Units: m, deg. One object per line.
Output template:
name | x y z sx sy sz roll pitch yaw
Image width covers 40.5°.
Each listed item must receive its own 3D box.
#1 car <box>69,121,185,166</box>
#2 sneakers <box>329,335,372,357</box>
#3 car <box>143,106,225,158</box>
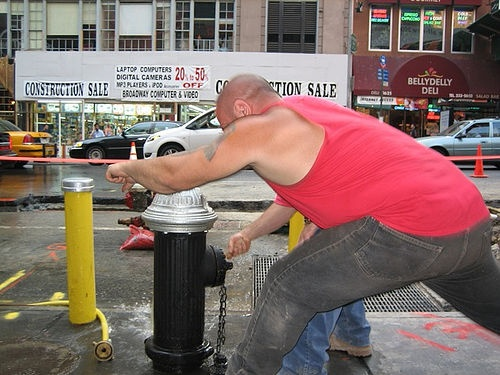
car | -3.805 -1.419 21.028 3.399 1.115 1.364 1 0 -2
sneakers | 0.844 1.339 5.800 0.431 0.196 0.153 1 6 21
car | -1.676 -1.411 18.470 2.869 1.566 1.641 1 -1 4
